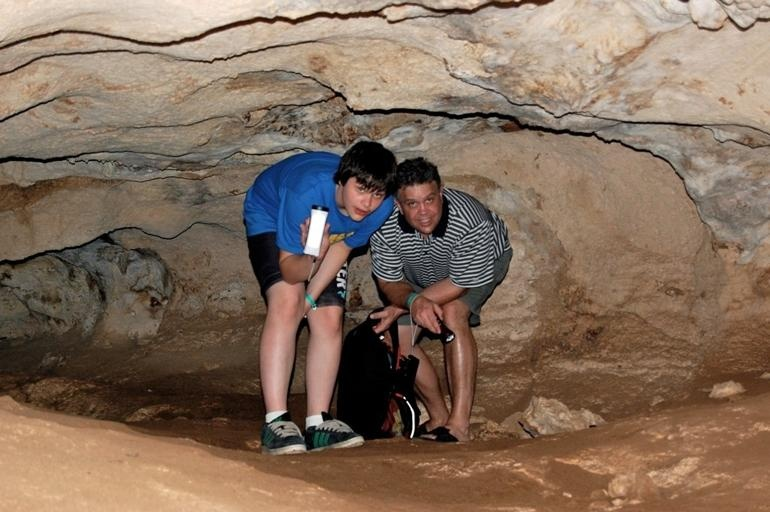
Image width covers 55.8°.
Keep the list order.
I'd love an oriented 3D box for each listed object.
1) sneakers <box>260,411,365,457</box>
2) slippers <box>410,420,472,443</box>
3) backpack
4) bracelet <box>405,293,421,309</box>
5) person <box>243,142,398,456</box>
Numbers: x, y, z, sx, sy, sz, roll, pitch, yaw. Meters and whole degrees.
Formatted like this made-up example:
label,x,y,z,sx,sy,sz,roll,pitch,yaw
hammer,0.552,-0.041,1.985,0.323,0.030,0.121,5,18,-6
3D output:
label,x,y,z,sx,sy,sz,roll,pitch,yaw
sneakers,-0.427,0.991,4.100,0.536,0.215,0.291,5,-7,-31
slippers,0.335,1.090,4.494,0.128,0.067,0.333,0,0,43
backpack,-0.112,0.788,4.547,0.328,0.672,0.306,1,-8,-11
bracelet,0.162,0.297,4.858,0.080,0.103,0.099,37,-29,11
person,-0.438,0.212,4.287,0.928,1.802,0.583,2,-7,-2
